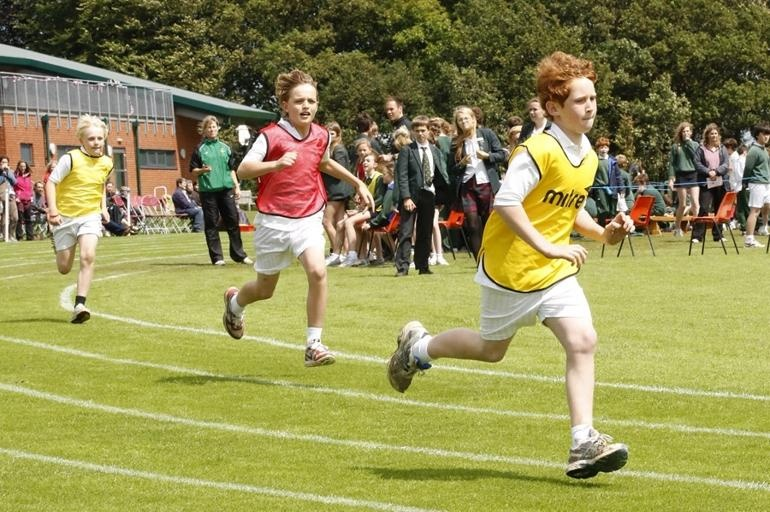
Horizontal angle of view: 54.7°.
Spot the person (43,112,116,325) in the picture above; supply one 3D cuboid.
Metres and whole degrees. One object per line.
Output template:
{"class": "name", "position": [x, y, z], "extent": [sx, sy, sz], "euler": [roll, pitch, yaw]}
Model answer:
{"class": "person", "position": [-4.000, -0.546, 9.827], "extent": [0.809, 2.693, 1.215], "euler": [-2, 5, -21]}

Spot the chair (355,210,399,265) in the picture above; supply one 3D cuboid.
{"class": "chair", "position": [-0.130, -0.320, 16.052], "extent": [1.079, 1.454, 0.915], "euler": [2, 0, -24]}

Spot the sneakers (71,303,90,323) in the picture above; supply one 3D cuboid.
{"class": "sneakers", "position": [-3.828, 0.733, 9.416], "extent": [0.147, 0.184, 0.370], "euler": [-39, 6, -31]}

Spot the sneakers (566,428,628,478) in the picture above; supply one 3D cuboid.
{"class": "sneakers", "position": [1.280, 1.225, 4.750], "extent": [0.445, 0.279, 0.213], "euler": [-19, 35, 12]}

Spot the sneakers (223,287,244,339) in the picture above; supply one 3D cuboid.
{"class": "sneakers", "position": [-1.576, 0.614, 7.967], "extent": [0.223, 0.582, 0.262], "euler": [-6, 17, -42]}

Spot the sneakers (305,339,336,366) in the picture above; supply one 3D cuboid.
{"class": "sneakers", "position": [-0.623, 0.924, 7.049], "extent": [0.151, 0.179, 0.365], "euler": [2, -6, -29]}
